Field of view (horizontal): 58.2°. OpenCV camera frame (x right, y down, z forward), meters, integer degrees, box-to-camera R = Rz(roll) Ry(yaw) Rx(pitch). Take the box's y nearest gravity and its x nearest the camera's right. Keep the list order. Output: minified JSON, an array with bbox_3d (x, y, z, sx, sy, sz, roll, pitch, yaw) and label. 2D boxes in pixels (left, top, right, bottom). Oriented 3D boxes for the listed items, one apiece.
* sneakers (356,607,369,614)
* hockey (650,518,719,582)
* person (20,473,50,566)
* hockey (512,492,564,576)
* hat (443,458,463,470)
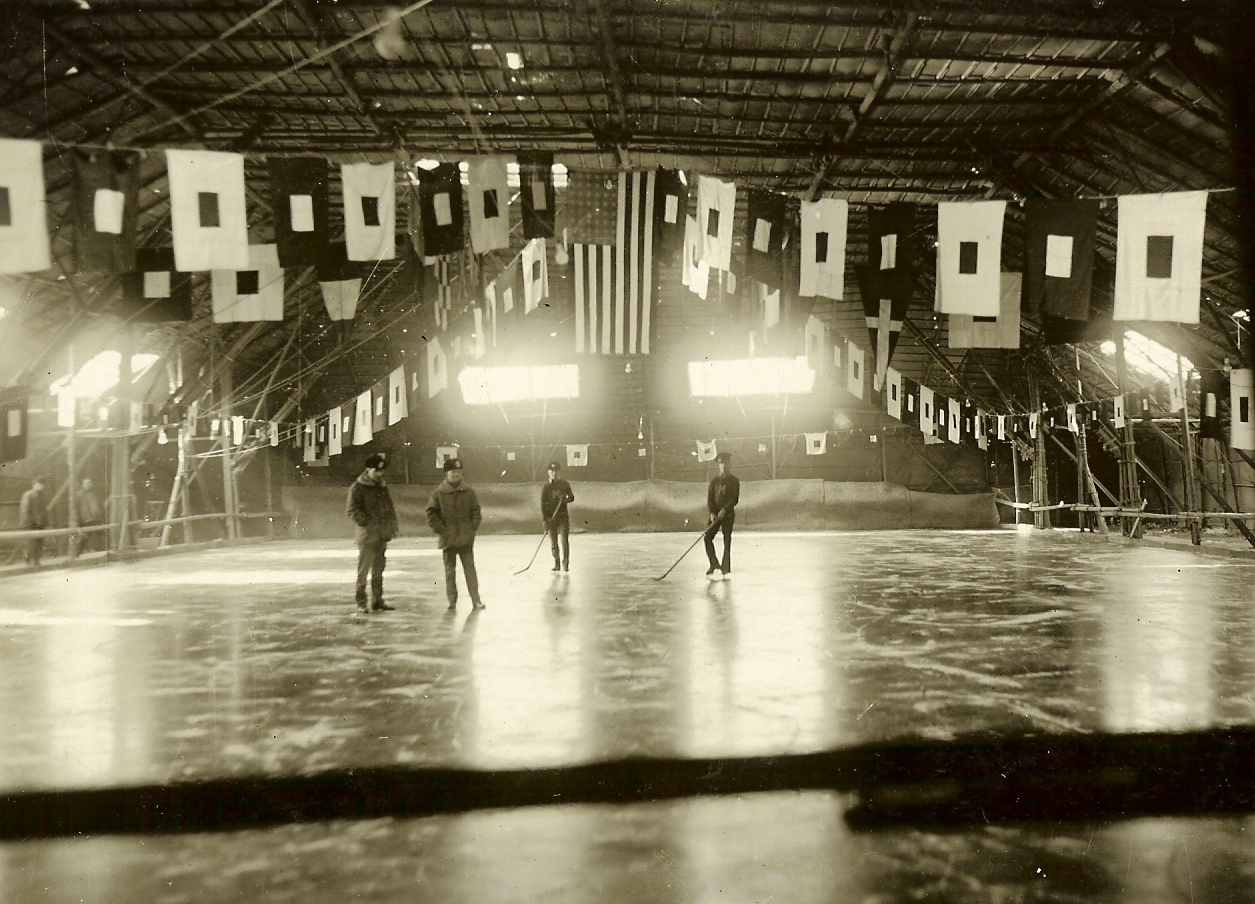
[{"bbox_3d":[-4.141,2.499,17.750,0.152,0.124,0.175,7,-12,-28],"label":"sneakers"},{"bbox_3d":[1.178,1.860,21.673,0.491,0.536,3.406,1,-25,-19],"label":"hockey"},{"bbox_3d":[-13.650,1.691,26.010,0.535,2.117,1.458,-7,14,-30],"label":"person"},{"bbox_3d":[-2.106,1.982,26.611,0.258,1.972,0.214,23,22,-8],"label":"hockey"},{"bbox_3d":[-2.758,0.175,17.739,0.262,0.233,0.213,-15,-12,37],"label":"hat"}]
